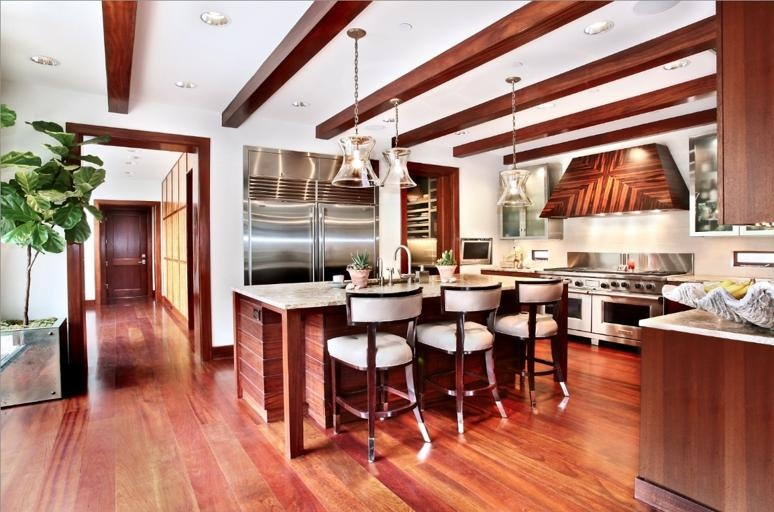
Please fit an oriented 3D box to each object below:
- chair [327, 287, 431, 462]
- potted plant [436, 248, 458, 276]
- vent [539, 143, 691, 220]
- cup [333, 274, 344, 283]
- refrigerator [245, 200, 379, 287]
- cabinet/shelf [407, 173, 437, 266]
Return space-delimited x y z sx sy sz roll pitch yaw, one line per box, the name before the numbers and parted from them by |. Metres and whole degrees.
chair | -0.099 0.965 4.485 0.785 1.321 0.809 -2 2 -44
potted plant | 0.627 0.100 5.375 0.181 0.255 0.318 0 14 1
vent | 3.305 -1.055 7.291 0.607 0.877 2.095 -4 4 -31
cup | -0.524 0.248 5.281 0.102 0.068 0.076 -1 3 2
refrigerator | -1.111 -0.167 6.712 1.261 1.137 0.476 1 -1 -27
cabinet/shelf | 0.596 -0.596 8.942 0.393 1.578 1.128 -3 14 -10
